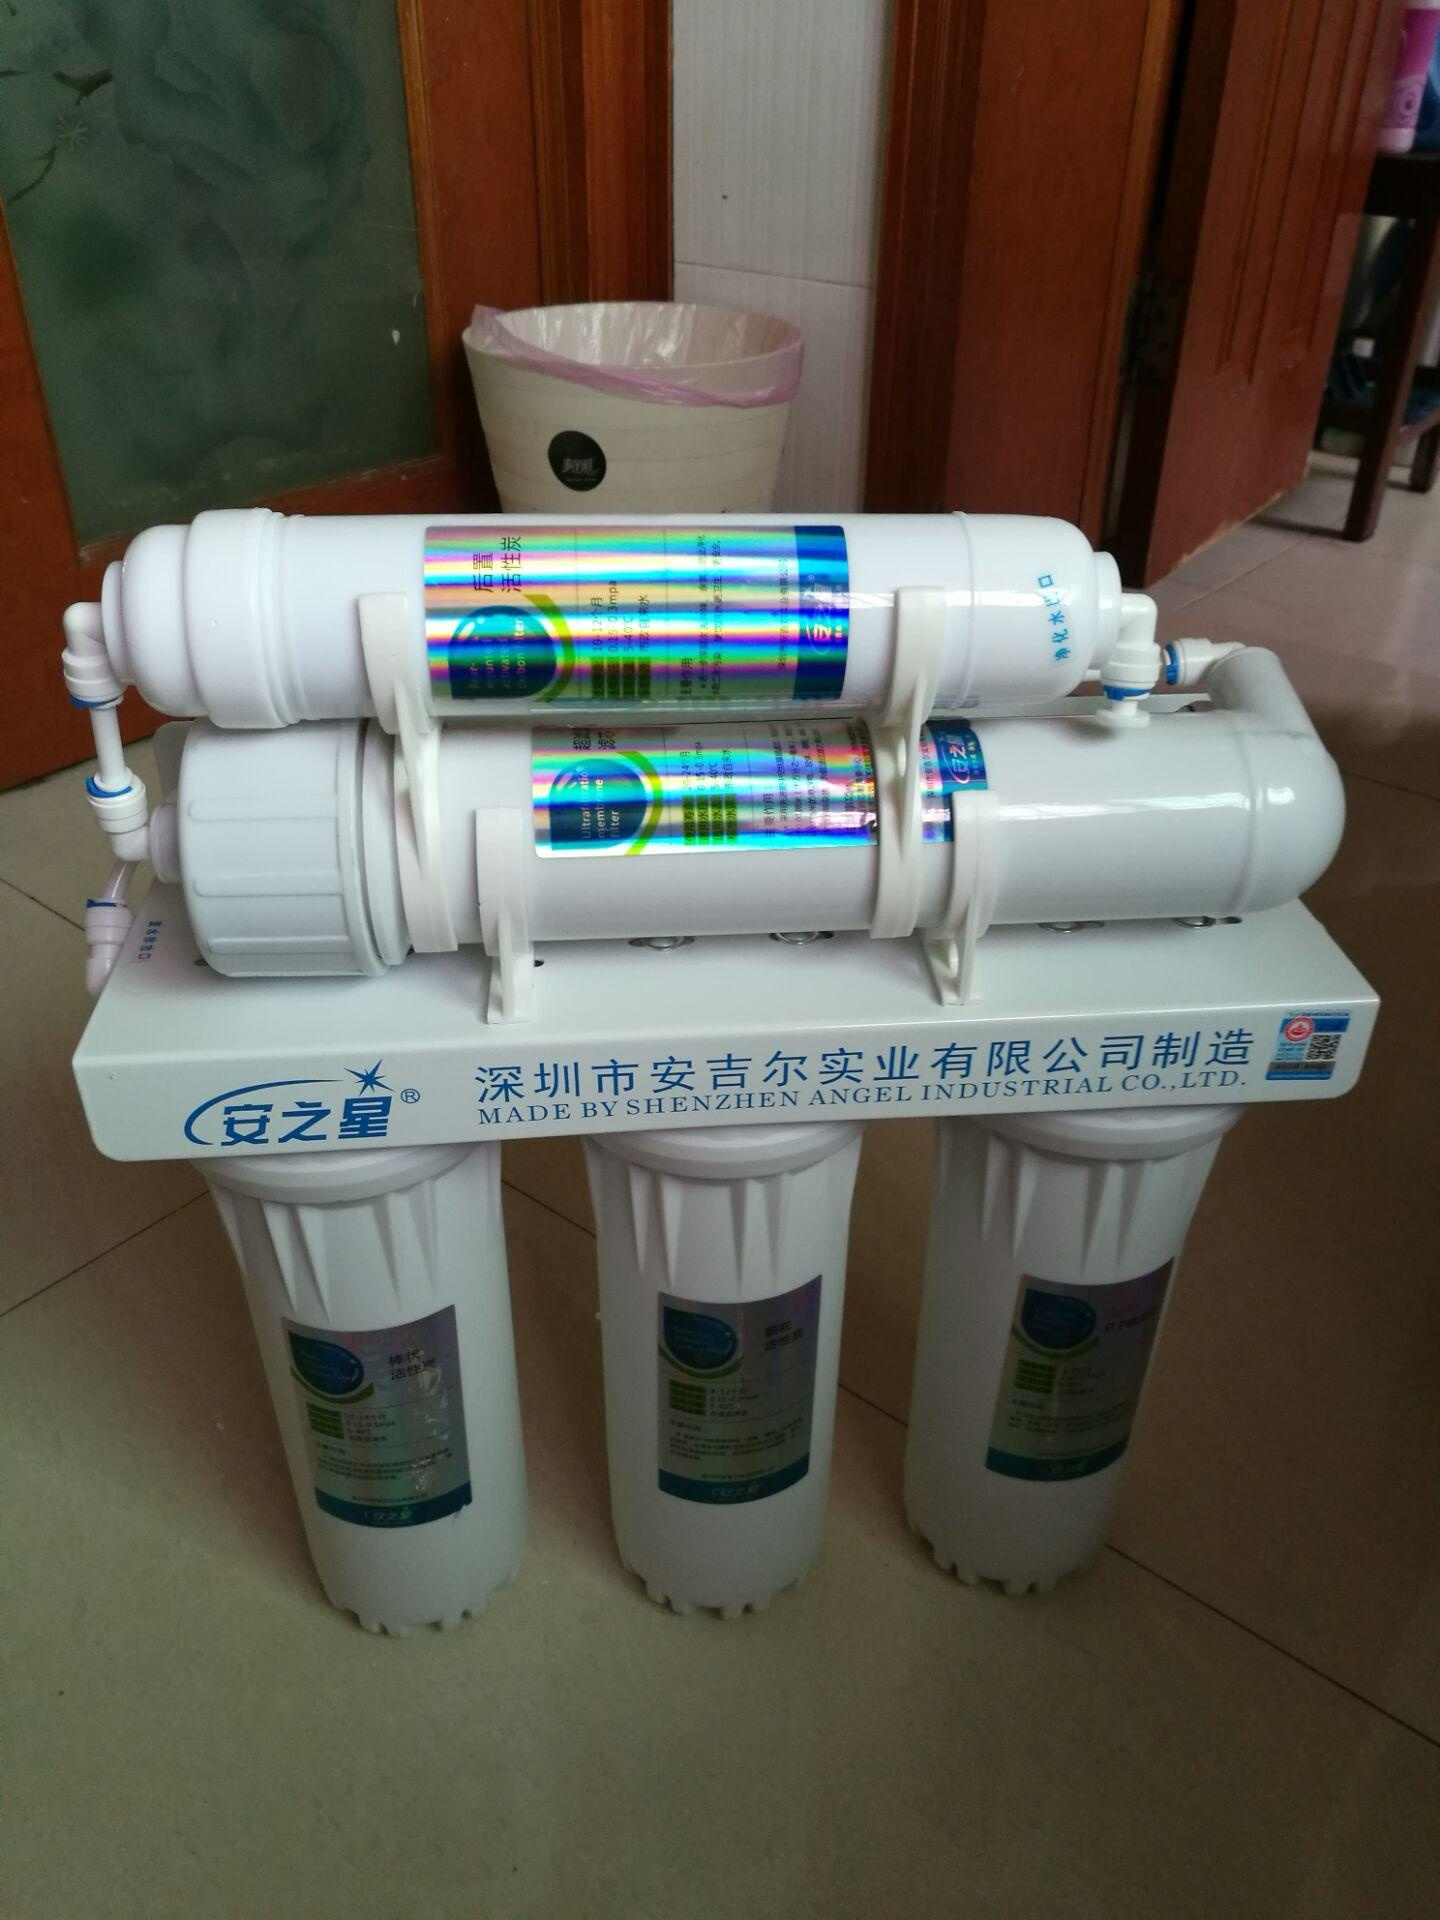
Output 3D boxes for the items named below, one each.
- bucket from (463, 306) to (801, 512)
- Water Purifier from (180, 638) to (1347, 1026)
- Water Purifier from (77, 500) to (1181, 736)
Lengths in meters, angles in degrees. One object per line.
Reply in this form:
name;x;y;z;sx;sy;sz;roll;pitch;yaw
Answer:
bucket;-0.107;-0.730;2.285;0.414;0.233;0.453;-1;37;1
Water Purifier;-0.013;-0.062;0.911;0.609;0.202;0.135;-2;62;-6
Water Purifier;0.037;-0.147;0.883;0.706;0.148;0.158;0;12;-2
